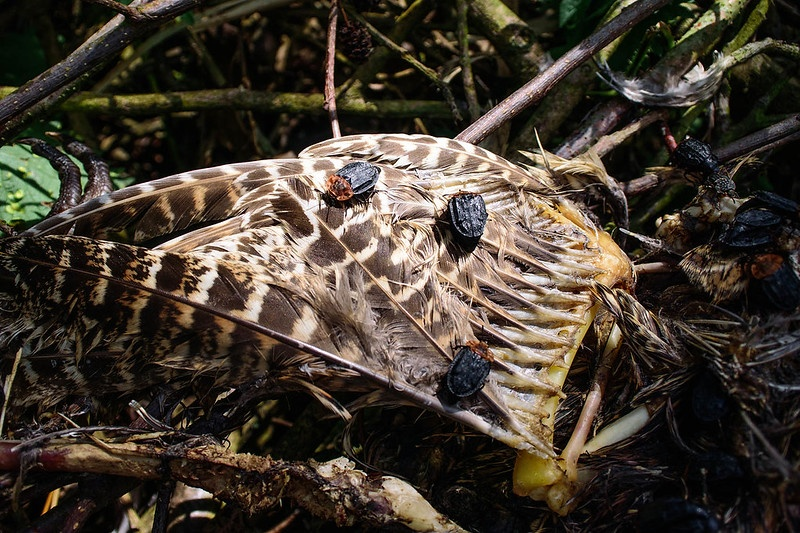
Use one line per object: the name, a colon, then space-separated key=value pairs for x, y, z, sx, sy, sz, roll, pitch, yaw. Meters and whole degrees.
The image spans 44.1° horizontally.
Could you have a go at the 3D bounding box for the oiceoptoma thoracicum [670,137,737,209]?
oiceoptoma thoracicum: x=1.031 y=-0.327 z=3.414 sx=0.260 sy=0.183 sz=0.085 roll=44 pitch=3 yaw=9

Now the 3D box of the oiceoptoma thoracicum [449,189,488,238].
oiceoptoma thoracicum: x=0.216 y=-0.168 z=3.177 sx=0.138 sy=0.060 sz=0.131 roll=-13 pitch=85 yaw=-10
